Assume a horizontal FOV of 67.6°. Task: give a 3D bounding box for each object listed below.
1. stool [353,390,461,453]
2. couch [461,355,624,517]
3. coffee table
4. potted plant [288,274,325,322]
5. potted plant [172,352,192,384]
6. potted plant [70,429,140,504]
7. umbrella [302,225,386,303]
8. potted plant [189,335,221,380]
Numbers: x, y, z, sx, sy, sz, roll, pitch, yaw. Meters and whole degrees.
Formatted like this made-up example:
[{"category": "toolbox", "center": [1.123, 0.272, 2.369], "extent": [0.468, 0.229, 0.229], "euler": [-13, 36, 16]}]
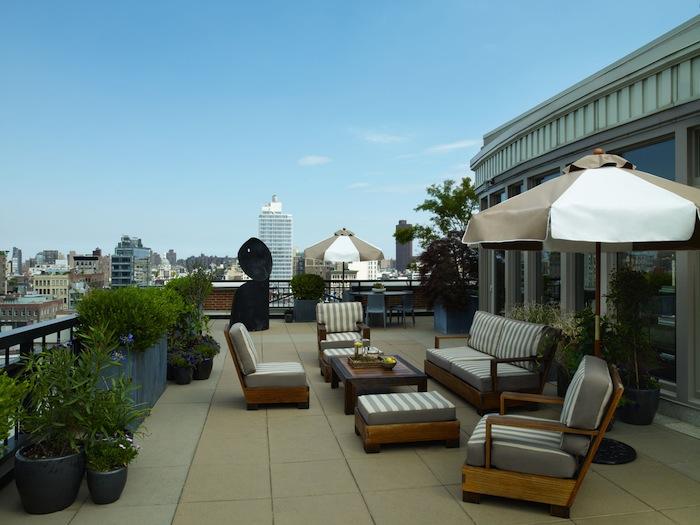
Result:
[{"category": "stool", "center": [0.616, 1.720, 5.705], "extent": [1.077, 0.492, 0.455], "euler": [0, 1, -10]}, {"category": "couch", "center": [1.675, 1.511, 4.647], "extent": [1.293, 1.289, 0.440], "euler": [0, 2, 16]}, {"category": "coffee table", "center": [0.347, 1.635, 6.563], "extent": [0.671, 0.315, 0.933], "euler": [1, 1, -11]}, {"category": "potted plant", "center": [-1.138, 0.942, 14.332], "extent": [1.187, 1.468, 1.107], "euler": [0, 0, -3]}, {"category": "potted plant", "center": [-2.490, 1.594, 7.760], "extent": [0.359, 0.404, 0.361], "euler": [1, -9, -9]}, {"category": "potted plant", "center": [-2.131, 1.767, 4.830], "extent": [0.631, 0.695, 0.533], "euler": [2, -5, -17]}, {"category": "umbrella", "center": [-0.150, -0.012, 15.624], "extent": [2.300, 2.143, 2.435], "euler": [0, 6, 7]}, {"category": "potted plant", "center": [-2.281, 1.490, 8.238], "extent": [0.603, 0.627, 0.510], "euler": [1, -5, -6]}]
